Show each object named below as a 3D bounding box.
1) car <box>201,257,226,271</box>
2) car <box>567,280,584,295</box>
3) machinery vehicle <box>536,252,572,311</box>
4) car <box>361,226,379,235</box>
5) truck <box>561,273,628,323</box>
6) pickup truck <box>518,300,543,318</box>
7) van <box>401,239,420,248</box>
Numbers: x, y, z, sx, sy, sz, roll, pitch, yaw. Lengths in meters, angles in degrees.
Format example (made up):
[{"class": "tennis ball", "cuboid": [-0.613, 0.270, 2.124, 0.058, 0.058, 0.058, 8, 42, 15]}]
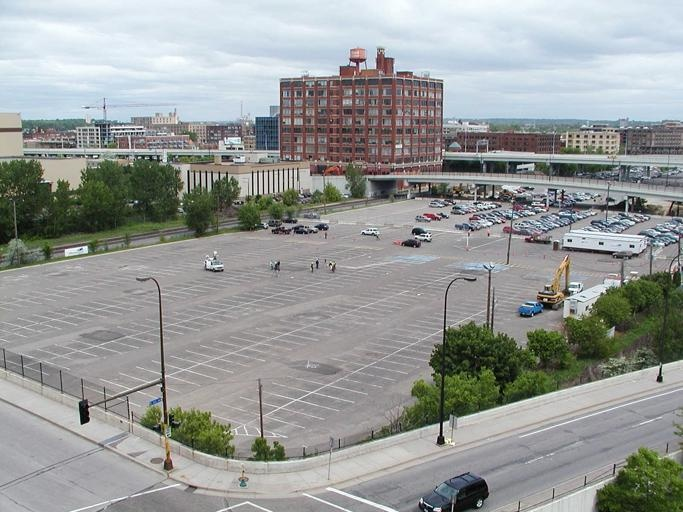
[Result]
[{"class": "car", "cuboid": [-18.305, 1.196, 127.723, 1.839, 1.822, 3.155, -10, 12, -41]}, {"class": "car", "cuboid": [29.950, 4.002, 113.323, 1.675, 1.487, 3.162, 1, 5, 28]}, {"class": "machinery vehicle", "cuboid": [27.209, 3.183, 111.833, 2.729, 5.939, 7.774, 4, 10, 35]}, {"class": "car", "cuboid": [5.219, -4.367, 159.295, 2.554, 1.303, 1.541, 10, 14, 24]}, {"class": "truck", "cuboid": [31.073, 5.396, 107.049, 3.821, 5.135, 19.929, 0, 14, 28]}, {"class": "pickup truck", "cuboid": [22.794, 6.403, 106.337, 1.411, 1.065, 3.162, 10, 19, 38]}, {"class": "van", "cuboid": [11.744, -2.178, 147.053, 2.306, 1.104, 1.435, 14, 16, 30]}]
